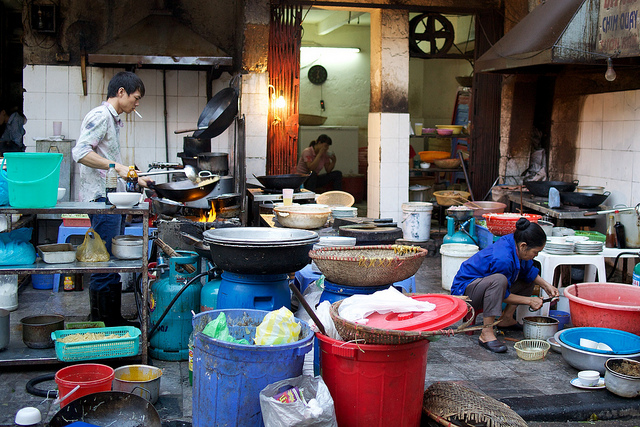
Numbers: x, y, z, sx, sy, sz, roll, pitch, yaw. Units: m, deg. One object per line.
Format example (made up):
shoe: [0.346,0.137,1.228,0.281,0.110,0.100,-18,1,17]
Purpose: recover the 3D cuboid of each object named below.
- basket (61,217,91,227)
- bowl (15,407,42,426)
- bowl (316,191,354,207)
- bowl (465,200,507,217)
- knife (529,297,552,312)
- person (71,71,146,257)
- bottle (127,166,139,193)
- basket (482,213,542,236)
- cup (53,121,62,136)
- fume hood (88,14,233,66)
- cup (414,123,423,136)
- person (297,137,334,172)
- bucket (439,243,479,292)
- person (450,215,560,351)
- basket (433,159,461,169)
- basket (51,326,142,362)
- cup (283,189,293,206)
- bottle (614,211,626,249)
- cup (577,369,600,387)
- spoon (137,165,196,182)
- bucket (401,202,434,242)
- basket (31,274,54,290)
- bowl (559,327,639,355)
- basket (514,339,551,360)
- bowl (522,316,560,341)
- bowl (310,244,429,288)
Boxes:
basket: [-3.058,0.113,6.854,0.352,0.116,0.111,0,9,8]
bowl: [-2.067,1.426,3.854,0.119,0.060,0.120,2,4,0]
bowl: [0.208,-0.184,7.317,0.301,0.070,0.294,0,27,0]
bowl: [2.280,-0.055,7.550,0.511,0.170,0.666,0,8,9]
knife: [2.138,0.925,5.479,0.041,0.070,0.393,1,-24,-40]
person: [-2.017,-0.483,5.281,0.687,1.756,0.699,-4,10,-20]
bottle: [-1.696,-0.303,4.907,0.102,0.222,0.337,-4,9,-19]
basket: [2.265,0.136,6.461,0.510,0.273,0.493,-7,10,-37]
cup: [-3.945,-1.273,8.159,0.123,0.215,0.176,-5,9,-22]
fume hood: [-2.320,-2.520,7.887,1.869,0.779,0.770,-2,9,-6]
cup: [1.638,-1.398,9.075,0.128,0.203,0.410,1,8,11]
person: [-0.040,-1.140,10.606,0.485,0.669,0.892,6,11,38]
bucket: [1.670,0.644,6.570,0.475,0.500,0.481,1,3,0]
person: [1.833,0.660,5.410,0.906,1.232,0.590,-5,10,-23]
basket: [2.143,-0.829,9.167,0.424,0.162,0.199,1,9,14]
basket: [-1.913,1.118,4.639,0.706,0.244,0.459,-4,9,-22]
cup: [-0.372,-0.196,6.419,0.162,0.221,0.165,0,2,0]
bottle: [3.508,0.184,6.355,0.128,0.409,0.343,4,10,30]
cup: [2.284,1.399,4.642,0.127,0.076,0.127,-1,0,0]
spoon: [-1.444,-0.398,5.395,0.330,0.126,0.212,-11,4,-17]
bucket: [1.365,0.129,7.712,0.513,0.527,0.500,-3,7,0]
basket: [-3.358,0.823,6.564,0.326,0.188,0.113,0,9,7]
bowl: [2.505,1.133,4.878,0.343,0.114,0.338,-3,9,0]
basket: [2.017,1.287,5.143,0.375,0.127,0.214,-4,9,-22]
bowl: [2.163,1.133,5.361,0.265,0.128,0.232,0,2,40]
bowl: [0.340,0.445,4.457,0.841,0.264,0.827,-1,-1,0]
